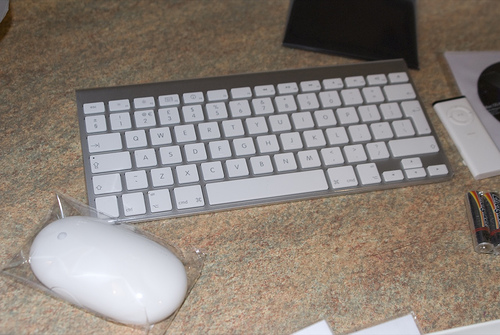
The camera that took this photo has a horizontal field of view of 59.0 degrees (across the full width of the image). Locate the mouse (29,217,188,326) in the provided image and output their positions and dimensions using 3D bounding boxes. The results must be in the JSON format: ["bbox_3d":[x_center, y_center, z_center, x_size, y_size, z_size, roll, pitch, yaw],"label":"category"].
[{"bbox_3d":[-0.204,0.145,0.637,0.229,0.064,0.120,23,64,7],"label":"mouse"}]
